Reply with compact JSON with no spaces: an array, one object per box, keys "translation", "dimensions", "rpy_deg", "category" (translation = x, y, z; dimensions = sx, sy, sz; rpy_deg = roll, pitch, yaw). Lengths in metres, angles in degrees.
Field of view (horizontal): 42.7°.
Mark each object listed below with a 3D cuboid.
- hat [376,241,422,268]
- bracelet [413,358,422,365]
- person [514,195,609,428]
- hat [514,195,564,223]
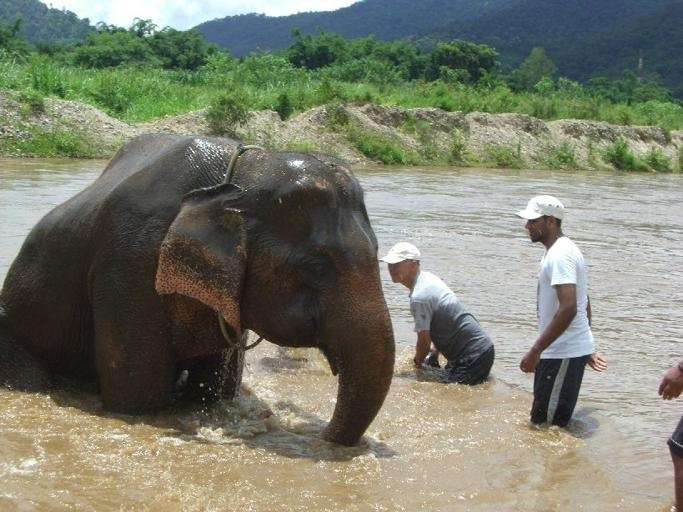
[{"translation":[0.521,-0.016,7.587],"dimensions":[0.368,0.141,0.217],"rpy_deg":[5,-6,-14],"category":"hat"},{"translation":[0.678,0.932,7.709],"dimensions":[0.076,0.061,0.062],"rpy_deg":[1,-2,4],"category":"bracelet"},{"translation":[1.634,0.427,6.504],"dimensions":[0.772,1.715,0.741],"rpy_deg":[6,10,8],"category":"person"},{"translation":[1.549,-0.365,6.675],"dimensions":[0.372,0.145,0.223],"rpy_deg":[6,1,-1],"category":"hat"}]
